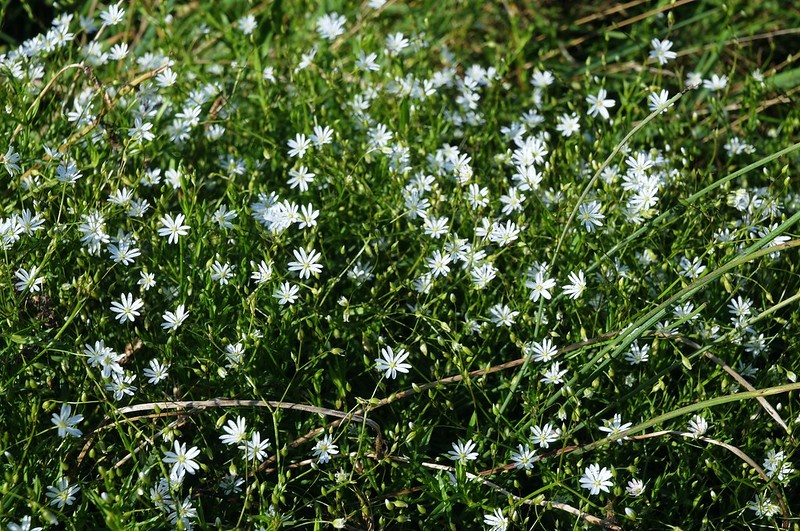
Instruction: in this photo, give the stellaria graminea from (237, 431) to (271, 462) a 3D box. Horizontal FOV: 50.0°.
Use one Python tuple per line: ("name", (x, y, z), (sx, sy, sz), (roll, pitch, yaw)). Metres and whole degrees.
("stellaria graminea", (-0.677, 0.818, 3.960), (0.131, 0.042, 0.160), (-22, 74, 25))
